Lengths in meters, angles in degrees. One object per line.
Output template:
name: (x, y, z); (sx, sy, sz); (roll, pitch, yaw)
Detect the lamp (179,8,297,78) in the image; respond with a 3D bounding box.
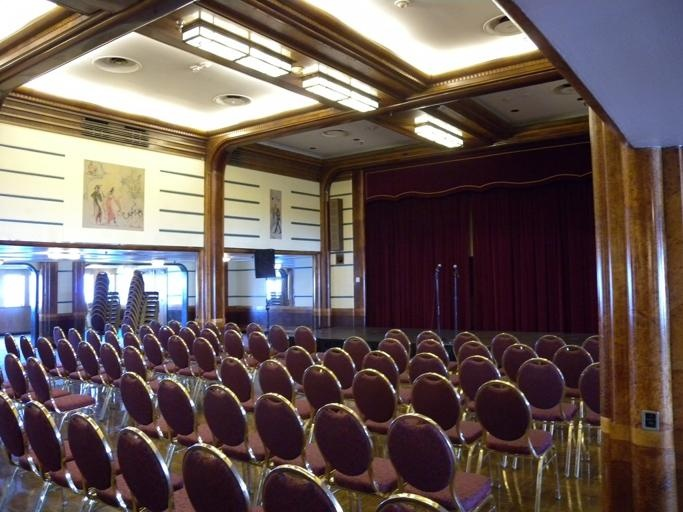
lamp: (-1.367, -2.839, 6.559); (0.679, 0.305, 1.608); (-1, -10, 42)

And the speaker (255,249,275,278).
speaker: (-1.909, 0.172, 12.150); (0.680, 0.711, 0.312); (2, -7, 26)

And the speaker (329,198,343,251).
speaker: (-0.160, -1.001, 14.113); (0.297, 1.356, 0.210); (-7, -11, 30)

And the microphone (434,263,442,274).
microphone: (2.606, 0.341, 13.117); (0.119, 0.355, 0.126); (-1, -30, 21)
